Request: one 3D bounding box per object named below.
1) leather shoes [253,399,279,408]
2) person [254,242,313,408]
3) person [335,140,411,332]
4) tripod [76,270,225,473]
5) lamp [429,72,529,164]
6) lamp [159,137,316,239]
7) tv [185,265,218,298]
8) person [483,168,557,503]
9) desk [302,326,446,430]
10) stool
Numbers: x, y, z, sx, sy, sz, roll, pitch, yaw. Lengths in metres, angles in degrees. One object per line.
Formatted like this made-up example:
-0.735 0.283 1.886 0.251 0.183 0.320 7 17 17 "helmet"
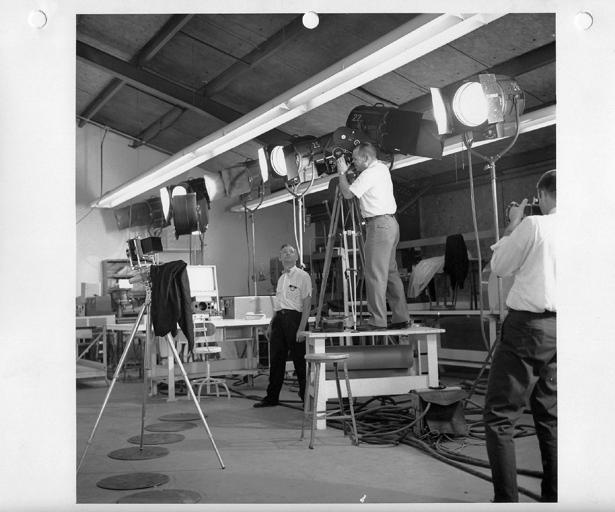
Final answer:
-0.474 1.676 6.954 0.281 0.125 0.098 5 -10 -14 "leather shoes"
-0.232 0.777 6.910 0.640 1.824 0.428 -3 -2 31 "person"
0.625 -0.233 5.823 0.621 1.808 0.545 -2 -1 9 "person"
-1.119 0.870 4.914 1.013 1.622 0.964 -10 -8 26 "tripod"
1.426 -1.197 5.076 0.702 0.536 0.751 -5 0 31 "lamp"
-0.998 -0.890 8.488 1.194 1.034 3.529 -1 -2 -33 "lamp"
-1.549 0.410 8.710 0.495 0.475 0.307 2 -32 -20 "tv"
1.253 0.467 3.570 0.431 1.545 0.745 -2 -2 26 "person"
0.633 1.103 6.028 1.055 0.761 0.637 -3 -2 1 "desk"
0.176 1.281 5.569 0.679 1.212 0.716 2 -9 -3 "stool"
